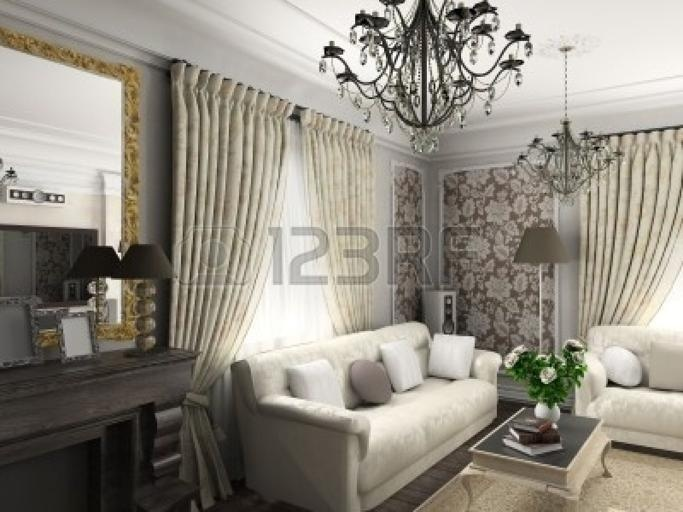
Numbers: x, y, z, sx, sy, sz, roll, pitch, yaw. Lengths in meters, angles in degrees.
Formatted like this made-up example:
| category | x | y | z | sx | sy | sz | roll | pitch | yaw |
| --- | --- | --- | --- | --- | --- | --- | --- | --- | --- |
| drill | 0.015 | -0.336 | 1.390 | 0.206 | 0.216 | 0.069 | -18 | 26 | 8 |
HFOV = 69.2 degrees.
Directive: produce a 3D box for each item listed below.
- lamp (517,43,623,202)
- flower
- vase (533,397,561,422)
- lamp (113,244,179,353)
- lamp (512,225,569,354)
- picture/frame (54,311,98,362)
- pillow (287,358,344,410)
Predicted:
| category | x | y | z | sx | sy | sz | roll | pitch | yaw |
| --- | --- | --- | --- | --- | --- | --- | --- | --- | --- |
| lamp | 2.084 | -1.251 | 4.508 | 0.651 | 1.094 | 0.708 | -3 | 11 | -3 |
| flower | 1.564 | 0.893 | 3.744 | 0.565 | 0.413 | 0.504 | -16 | -6 | 30 |
| vase | 1.547 | 1.155 | 3.702 | 0.174 | 0.215 | 0.167 | -2 | 0 | 15 |
| lamp | -1.226 | 0.262 | 3.045 | 0.318 | 0.663 | 0.328 | 1 | -3 | -16 |
| lamp | 2.226 | 0.400 | 5.499 | 0.541 | 1.490 | 0.915 | 0 | 3 | 24 |
| picture/frame | -1.506 | 0.451 | 2.791 | 0.033 | 0.353 | 0.257 | -11 | -9 | 35 |
| pillow | -0.180 | 1.081 | 3.961 | 0.244 | 0.466 | 0.530 | -10 | -8 | 34 |
